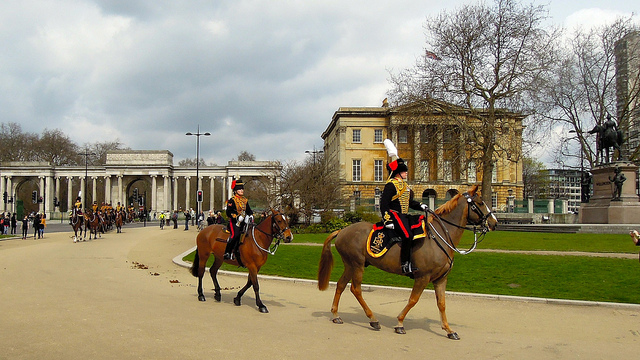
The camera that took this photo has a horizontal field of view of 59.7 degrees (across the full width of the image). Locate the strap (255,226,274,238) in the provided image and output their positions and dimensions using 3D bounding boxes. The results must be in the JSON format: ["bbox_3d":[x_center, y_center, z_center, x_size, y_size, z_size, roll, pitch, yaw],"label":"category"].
[{"bbox_3d":[-2.865,2.703,28.757,0.919,0.102,0.123,34,24,3],"label":"strap"}]

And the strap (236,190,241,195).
[{"bbox_3d":[-4.374,0.683,29.688,0.066,0.259,0.260,-29,-49,31],"label":"strap"}]

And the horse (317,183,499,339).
[{"bbox_3d":[4.208,4.074,28.266,10.039,7.203,2.663,-3,-9,34],"label":"horse"}]

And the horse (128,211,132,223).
[{"bbox_3d":[-28.766,5.525,84.308,0.538,1.493,1.202,0,-3,-19],"label":"horse"}]

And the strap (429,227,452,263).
[{"bbox_3d":[5.735,3.110,26.998,0.121,1.608,0.298,-43,-14,25],"label":"strap"}]

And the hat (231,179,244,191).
[{"bbox_3d":[-4.446,0.319,29.842,0.617,0.503,0.523,-6,4,6],"label":"hat"}]

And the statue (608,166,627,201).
[{"bbox_3d":[26.603,0.329,49.619,0.939,3.066,0.694,-2,-3,27],"label":"statue"}]

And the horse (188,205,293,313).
[{"bbox_3d":[-4.241,4.125,29.260,5.078,5.186,2.085,-2,-3,28],"label":"horse"}]

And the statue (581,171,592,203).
[{"bbox_3d":[25.985,0.825,54.439,0.894,2.799,2.333,-1,-3,25],"label":"statue"}]

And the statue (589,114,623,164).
[{"bbox_3d":[26.530,-3.901,51.472,1.909,4.332,3.448,3,-5,-26],"label":"statue"}]

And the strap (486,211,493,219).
[{"bbox_3d":[8.150,1.707,26.938,0.070,0.264,0.187,41,8,-2],"label":"strap"}]
